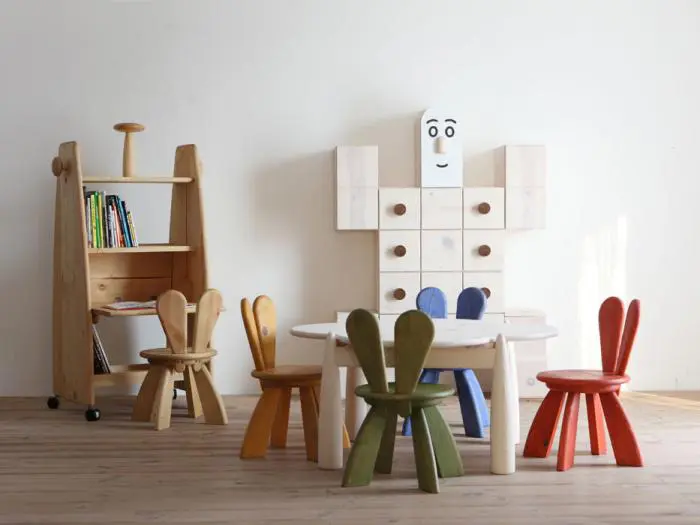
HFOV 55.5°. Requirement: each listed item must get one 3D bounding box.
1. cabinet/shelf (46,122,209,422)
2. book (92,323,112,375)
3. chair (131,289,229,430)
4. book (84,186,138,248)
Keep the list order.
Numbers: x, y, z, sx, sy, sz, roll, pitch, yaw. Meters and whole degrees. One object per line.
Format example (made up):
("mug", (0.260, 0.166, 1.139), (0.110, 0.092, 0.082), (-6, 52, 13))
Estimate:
("cabinet/shelf", (-1.496, -0.005, 4.508), (0.952, 1.994, 0.809), (0, 0, -39))
("book", (-1.574, 0.559, 4.219), (0.100, 0.282, 0.169), (-2, 6, -22))
("chair", (-1.036, 0.554, 3.999), (0.529, 0.809, 0.403), (-2, 6, -21))
("book", (-1.545, -0.265, 4.312), (0.356, 0.502, 0.344), (-9, 4, -30))
